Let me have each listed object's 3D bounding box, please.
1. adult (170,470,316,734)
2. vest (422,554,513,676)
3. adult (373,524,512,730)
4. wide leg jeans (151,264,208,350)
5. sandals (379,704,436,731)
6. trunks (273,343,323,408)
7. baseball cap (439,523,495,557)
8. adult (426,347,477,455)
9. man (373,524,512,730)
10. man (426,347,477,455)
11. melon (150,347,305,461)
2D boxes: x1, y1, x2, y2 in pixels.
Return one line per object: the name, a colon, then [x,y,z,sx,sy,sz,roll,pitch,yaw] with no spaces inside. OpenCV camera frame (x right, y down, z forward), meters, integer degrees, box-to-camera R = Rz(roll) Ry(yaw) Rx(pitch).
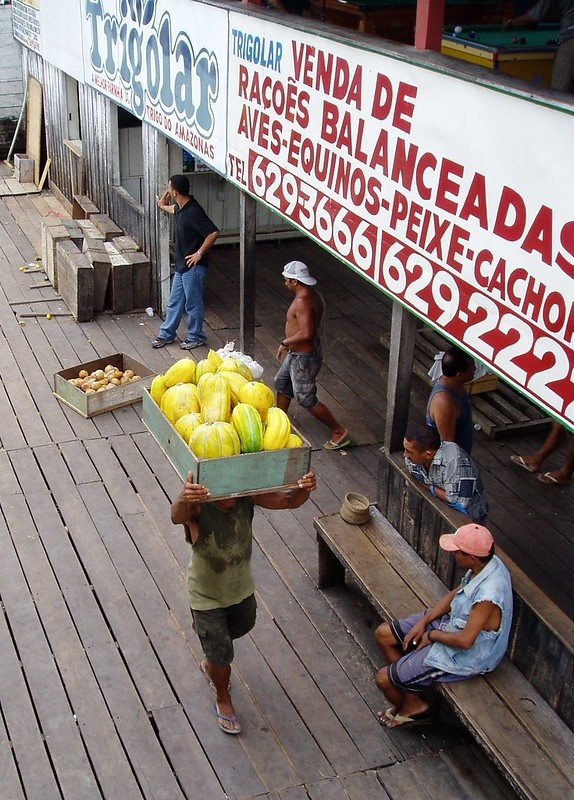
adult: [-0.245,0.889,3.007,0.683,1.422,0.622,-12,19,-38]
vest: [0.880,1.043,2.954,0.351,0.488,0.414,13,32,12]
adult: [0.768,1.141,3.085,0.650,1.060,0.488,2,10,17]
wide leg jeans: [-1.455,-1.259,8.442,0.628,1.419,0.606,32,33,28]
sandals: [0.654,1.751,3.404,0.317,0.125,0.076,-3,-14,3]
trunks: [0.131,-0.239,6.316,0.341,0.591,0.489,-14,39,-28]
baseball cap: [0.823,0.648,2.844,0.213,0.120,0.137,20,40,24]
adult: [1.174,0.020,4.347,0.325,1.046,0.506,-3,53,13]
man: [0.777,1.148,3.090,0.637,1.071,0.496,2,10,18]
man: [1.174,0.020,4.347,0.325,1.046,0.506,-3,53,13]
melon: [-0.270,0.051,2.570,0.354,0.286,0.631,-13,33,-16]
